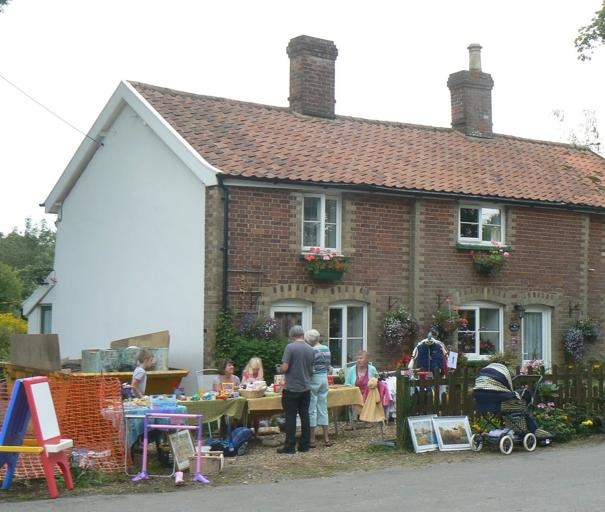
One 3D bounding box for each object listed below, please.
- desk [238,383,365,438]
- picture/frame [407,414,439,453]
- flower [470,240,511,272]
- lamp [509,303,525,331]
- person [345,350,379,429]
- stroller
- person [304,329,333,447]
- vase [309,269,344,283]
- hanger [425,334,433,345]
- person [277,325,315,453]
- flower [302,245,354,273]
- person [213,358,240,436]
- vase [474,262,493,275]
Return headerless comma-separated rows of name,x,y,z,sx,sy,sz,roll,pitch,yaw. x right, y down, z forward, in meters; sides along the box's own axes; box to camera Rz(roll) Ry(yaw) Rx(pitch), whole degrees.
desk,-0.077,2.908,21.947,1.298,1.165,2.302,-6,-10,41
picture/frame,2.202,3.284,20.930,0.681,0.701,0.073,-1,-26,-32
flower,4.536,0.048,27.561,0.808,0.591,0.686,0,1,-33
lamp,5.261,1.508,28.002,0.431,0.686,0.192,1,-10,-17
person,1.234,2.699,23.515,0.587,1.439,0.547,0,-1,-12
stroller,3.669,2.820,21.348,1.236,1.705,1.175,0,-4,-37
person,0.404,2.478,21.842,0.618,1.947,0.538,4,-2,21
vase,0.533,0.448,25.523,0.507,0.188,0.352,3,-7,-21
hanger,2.645,1.723,23.526,0.191,0.216,0.200,-3,-4,35
person,-0.160,2.475,21.307,0.756,2.302,0.702,5,-7,-37
flower,0.492,0.105,25.446,0.694,0.416,0.674,2,1,-41
person,-1.327,2.821,21.735,0.506,1.640,0.519,-3,-4,-36
vase,4.357,0.305,27.561,0.367,0.268,0.272,1,5,-19
